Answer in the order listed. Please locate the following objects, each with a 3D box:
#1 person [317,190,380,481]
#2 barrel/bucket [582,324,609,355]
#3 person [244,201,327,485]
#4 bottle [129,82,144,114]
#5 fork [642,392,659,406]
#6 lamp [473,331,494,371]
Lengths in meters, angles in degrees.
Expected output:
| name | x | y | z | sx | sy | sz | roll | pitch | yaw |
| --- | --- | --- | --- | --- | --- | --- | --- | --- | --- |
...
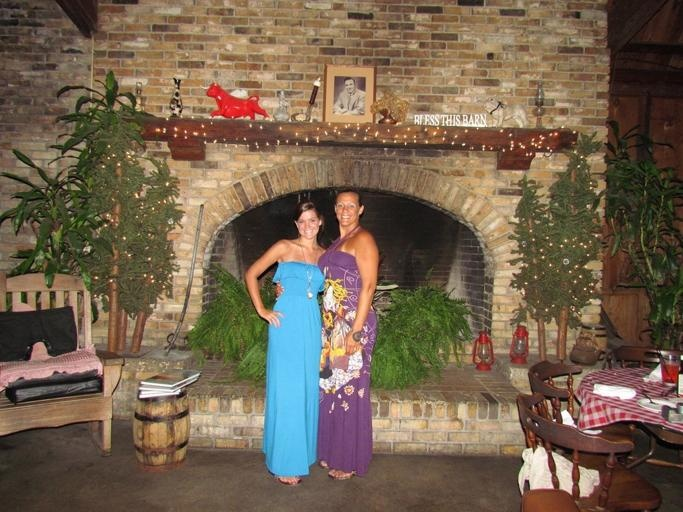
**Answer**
| name | x | y | z | sx | sy | sz | roll | pitch | yaw |
| --- | --- | --- | --- | --- | --- | --- | --- | --- | --- |
| person | 0.046 | 0.706 | 5.807 | 0.518 | 2.584 | 0.308 | 1 | -1 | 1 |
| barrel/bucket | 2.775 | 0.888 | 6.986 | 0.269 | 0.273 | 0.277 | -1 | 2 | 0 |
| person | -0.486 | 0.718 | 5.810 | 0.633 | 2.415 | 0.265 | 1 | -1 | -3 |
| bottle | -2.235 | -1.779 | 7.176 | 0.101 | 0.346 | 0.207 | 2 | -2 | -26 |
| fork | 2.458 | 1.143 | 5.155 | 0.074 | 0.018 | 0.116 | 3 | 14 | 16 |
| lamp | 1.604 | 1.053 | 7.294 | 0.237 | 0.426 | 0.329 | 1 | -2 | 10 |
